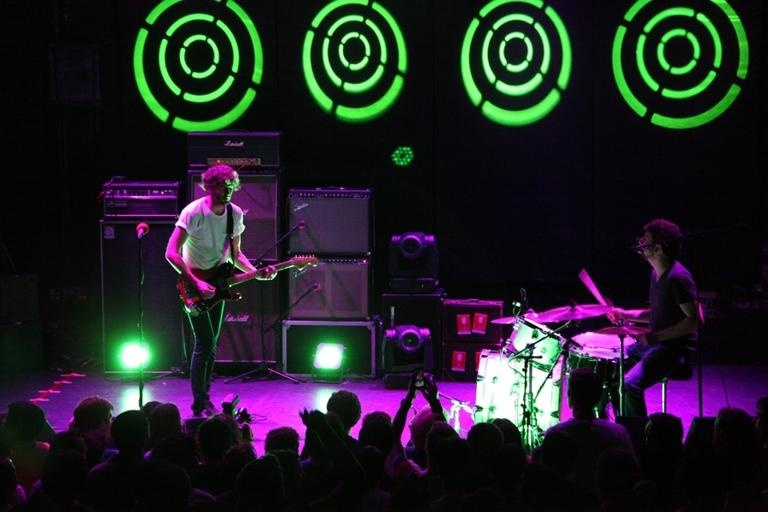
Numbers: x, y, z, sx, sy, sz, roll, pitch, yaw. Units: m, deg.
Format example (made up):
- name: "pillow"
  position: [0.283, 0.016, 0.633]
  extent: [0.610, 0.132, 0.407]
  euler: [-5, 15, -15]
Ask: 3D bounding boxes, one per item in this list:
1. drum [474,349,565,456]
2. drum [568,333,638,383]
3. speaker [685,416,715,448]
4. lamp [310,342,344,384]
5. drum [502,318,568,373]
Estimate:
- name: "drum"
  position: [1.160, 1.226, 6.299]
  extent: [0.710, 1.007, 0.814]
  euler: [4, 1, 14]
- name: "drum"
  position: [1.760, 0.790, 5.975]
  extent: [0.439, 0.189, 0.380]
  euler: [-1, 27, -37]
- name: "speaker"
  position: [2.068, 1.154, 4.818]
  extent: [0.187, 0.181, 0.052]
  euler: [-7, -32, 31]
- name: "lamp"
  position: [-0.565, 1.078, 7.624]
  extent: [0.338, 0.388, 0.370]
  euler: [1, 24, -2]
- name: "drum"
  position: [1.239, 0.706, 6.055]
  extent: [0.422, 0.302, 0.429]
  euler: [28, 2, -1]
